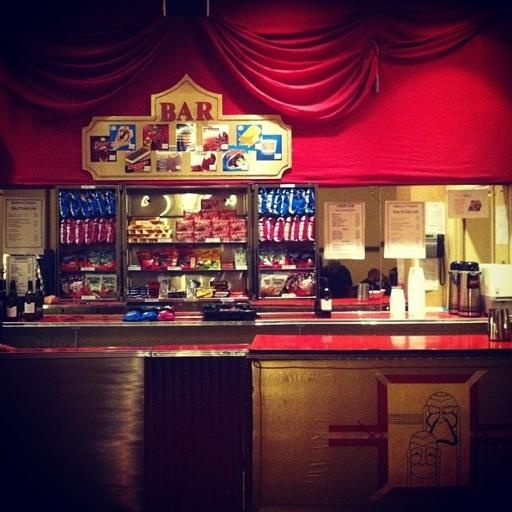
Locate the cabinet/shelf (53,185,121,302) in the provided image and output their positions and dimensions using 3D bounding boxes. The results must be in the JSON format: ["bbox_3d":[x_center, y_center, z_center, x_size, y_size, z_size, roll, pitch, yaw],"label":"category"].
[{"bbox_3d":[-1.527,-0.070,6.442,0.602,1.215,0.386,-1,29,-17],"label":"cabinet/shelf"}]

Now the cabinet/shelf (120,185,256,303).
[{"bbox_3d":[-0.562,-0.079,6.268,1.070,1.114,0.363,-1,-4,5],"label":"cabinet/shelf"}]

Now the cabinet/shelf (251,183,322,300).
[{"bbox_3d":[0.258,-0.030,6.403,0.572,1.175,0.370,1,-25,-1],"label":"cabinet/shelf"}]

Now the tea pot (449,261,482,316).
[{"bbox_3d":[1.841,0.288,6.073,0.240,0.514,0.437,-1,1,-4],"label":"tea pot"}]

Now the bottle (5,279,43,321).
[{"bbox_3d":[-2.011,0.381,6.006,0.307,0.457,0.148,2,-5,-24],"label":"bottle"}]
